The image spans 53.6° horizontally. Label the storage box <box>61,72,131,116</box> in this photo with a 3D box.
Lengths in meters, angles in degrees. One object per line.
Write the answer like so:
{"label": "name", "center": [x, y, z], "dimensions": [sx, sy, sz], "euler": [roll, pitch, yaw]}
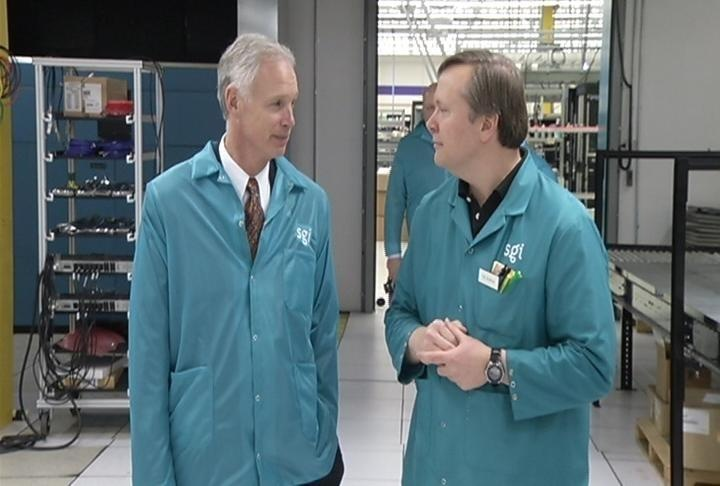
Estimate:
{"label": "storage box", "center": [-2.011, -1.114, 5.328], "dimensions": [0.327, 0.256, 0.360], "euler": [0, 3, -2]}
